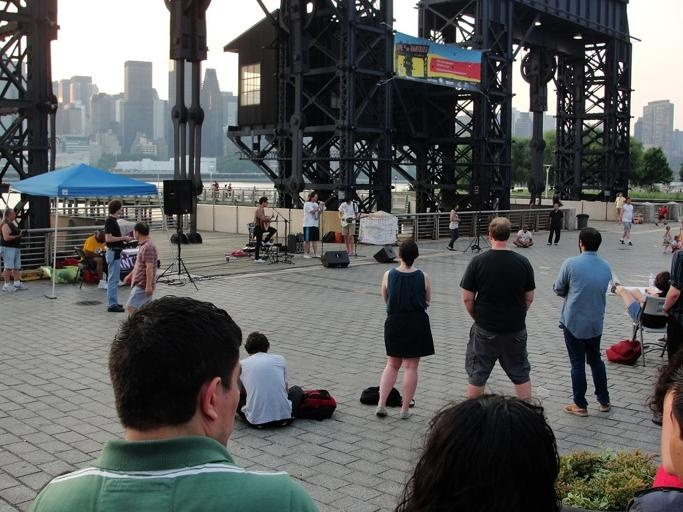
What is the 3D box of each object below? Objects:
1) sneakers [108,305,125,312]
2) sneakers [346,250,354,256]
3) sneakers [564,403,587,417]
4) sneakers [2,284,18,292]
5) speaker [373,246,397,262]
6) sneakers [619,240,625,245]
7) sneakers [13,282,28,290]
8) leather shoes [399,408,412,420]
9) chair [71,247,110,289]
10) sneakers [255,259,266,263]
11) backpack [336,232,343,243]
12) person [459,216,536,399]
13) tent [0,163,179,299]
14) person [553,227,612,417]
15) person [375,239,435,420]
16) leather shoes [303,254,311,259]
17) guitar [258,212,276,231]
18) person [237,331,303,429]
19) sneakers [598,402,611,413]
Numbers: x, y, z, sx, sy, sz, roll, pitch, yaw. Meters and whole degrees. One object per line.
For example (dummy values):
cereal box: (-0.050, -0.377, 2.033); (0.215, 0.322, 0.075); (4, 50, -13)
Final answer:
sneakers: (-4.435, 1.038, 13.940); (0.316, 0.151, 0.114); (-3, 16, -12)
sneakers: (0.269, -0.082, 22.781); (0.126, 0.198, 0.442); (-2, -4, 3)
sneakers: (2.716, 1.801, 8.211); (0.117, 0.120, 0.253); (-7, 12, -36)
sneakers: (-7.625, 0.737, 16.200); (0.375, 0.220, 0.146); (3, 6, 28)
speaker: (1.376, -0.056, 22.091); (0.482, 0.532, 0.580); (16, 17, 36)
sneakers: (11.675, -0.561, 29.456); (0.120, 0.273, 0.351); (-2, 2, -27)
sneakers: (-7.420, 0.688, 16.351); (0.284, 0.151, 0.136); (-3, 18, -40)
leather shoes: (0.735, 1.817, 8.086); (0.084, 0.091, 0.199); (-2, -8, 7)
chair: (-6.163, 0.384, 17.391); (0.862, 1.311, 0.931); (-3, 8, -20)
sneakers: (-2.508, 0.167, 21.724); (0.324, 0.149, 0.118); (-2, 3, 22)
backpack: (-0.083, -0.699, 27.261); (0.282, 0.348, 0.307); (-2, -6, 6)
person: (1.668, 0.609, 7.555); (0.758, 1.862, 0.388); (0, 4, 9)
tent: (-6.490, -0.915, 17.180); (2.993, 2.775, 2.952); (-3, 6, -39)
person: (2.804, 0.766, 8.214); (0.593, 2.173, 0.585); (1, 4, 23)
person: (0.717, 0.838, 8.082); (0.654, 2.019, 0.286); (0, 4, 2)
leather shoes: (-1.109, 0.025, 22.806); (0.251, 0.123, 0.091); (1, 13, 28)
guitar: (-2.348, -1.060, 21.899); (0.454, 0.651, 0.815); (3, 6, 36)
person: (-0.759, 1.422, 8.159); (0.855, 1.188, 0.969); (1, 12, 2)
sneakers: (3.104, 1.792, 8.342); (0.079, 0.097, 0.213); (-5, -11, 16)
